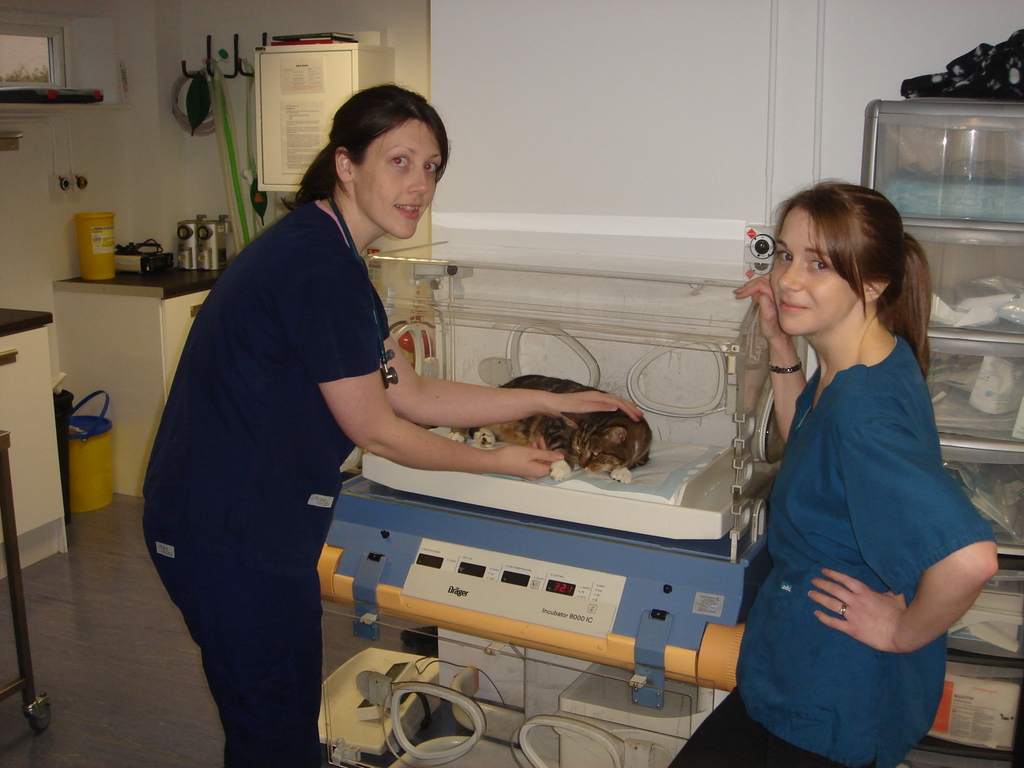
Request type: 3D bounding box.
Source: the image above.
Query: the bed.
[{"bbox_3d":[0.147,0.240,1.841,0.580,0.095,0.346,4,10,25],"label":"bed"}]

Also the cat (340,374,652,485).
[{"bbox_3d":[-0.084,0.089,1.738,0.470,0.086,0.293,6,10,7],"label":"cat"}]
